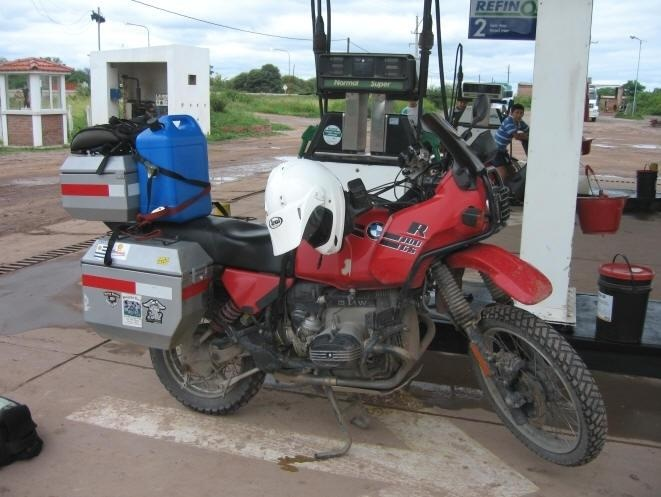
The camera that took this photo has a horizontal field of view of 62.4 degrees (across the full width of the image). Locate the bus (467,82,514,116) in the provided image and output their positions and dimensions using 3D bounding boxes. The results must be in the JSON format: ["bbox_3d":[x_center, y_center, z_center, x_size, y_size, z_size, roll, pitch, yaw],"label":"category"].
[{"bbox_3d":[4.029,-3.877,13.991,1.281,0.475,1.709,10,13,23],"label":"bus"}]

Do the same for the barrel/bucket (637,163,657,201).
[{"bbox_3d":[6.309,-1.340,10.738,0.413,0.729,0.993,9,17,28],"label":"barrel/bucket"}]

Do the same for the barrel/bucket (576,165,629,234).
[{"bbox_3d":[2.899,-0.539,5.748,0.616,0.655,0.547,2,4,-6],"label":"barrel/bucket"}]
